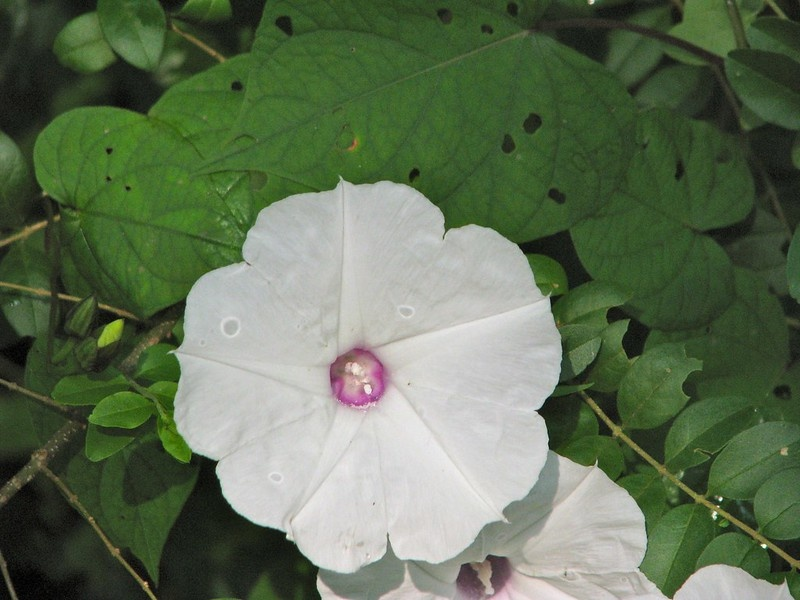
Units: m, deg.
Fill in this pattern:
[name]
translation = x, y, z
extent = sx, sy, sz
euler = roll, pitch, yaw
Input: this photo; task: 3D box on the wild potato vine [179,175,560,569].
[wild potato vine]
translation = -0.078, 0.204, 2.536
extent = 0.977, 0.253, 0.922
euler = 25, 81, 1
